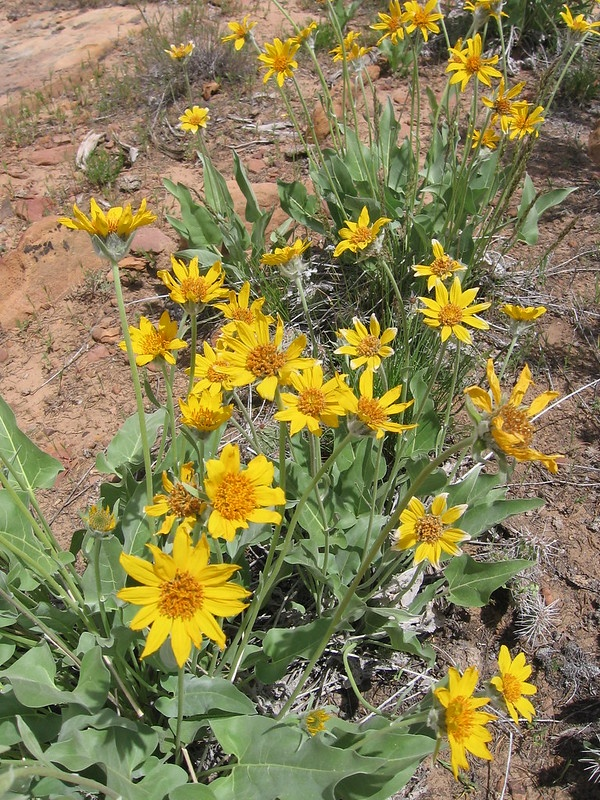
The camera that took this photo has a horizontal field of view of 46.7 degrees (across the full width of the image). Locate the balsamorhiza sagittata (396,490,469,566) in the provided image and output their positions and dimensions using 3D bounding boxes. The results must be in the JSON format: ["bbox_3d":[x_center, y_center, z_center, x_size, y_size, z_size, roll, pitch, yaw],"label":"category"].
[{"bbox_3d":[0.331,0.331,1.758,0.225,0.063,0.214,-5,35,21],"label":"balsamorhiza sagittata"}]

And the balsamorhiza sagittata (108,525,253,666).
[{"bbox_3d":[-0.241,0.391,1.374,0.255,0.101,0.264,20,48,-17],"label":"balsamorhiza sagittata"}]

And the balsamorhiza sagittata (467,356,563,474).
[{"bbox_3d":[0.448,0.035,1.497,0.199,0.093,0.210,35,51,25],"label":"balsamorhiza sagittata"}]

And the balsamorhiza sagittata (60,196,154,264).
[{"bbox_3d":[-0.468,-0.409,1.665,0.231,0.128,0.213,-9,7,-4],"label":"balsamorhiza sagittata"}]
